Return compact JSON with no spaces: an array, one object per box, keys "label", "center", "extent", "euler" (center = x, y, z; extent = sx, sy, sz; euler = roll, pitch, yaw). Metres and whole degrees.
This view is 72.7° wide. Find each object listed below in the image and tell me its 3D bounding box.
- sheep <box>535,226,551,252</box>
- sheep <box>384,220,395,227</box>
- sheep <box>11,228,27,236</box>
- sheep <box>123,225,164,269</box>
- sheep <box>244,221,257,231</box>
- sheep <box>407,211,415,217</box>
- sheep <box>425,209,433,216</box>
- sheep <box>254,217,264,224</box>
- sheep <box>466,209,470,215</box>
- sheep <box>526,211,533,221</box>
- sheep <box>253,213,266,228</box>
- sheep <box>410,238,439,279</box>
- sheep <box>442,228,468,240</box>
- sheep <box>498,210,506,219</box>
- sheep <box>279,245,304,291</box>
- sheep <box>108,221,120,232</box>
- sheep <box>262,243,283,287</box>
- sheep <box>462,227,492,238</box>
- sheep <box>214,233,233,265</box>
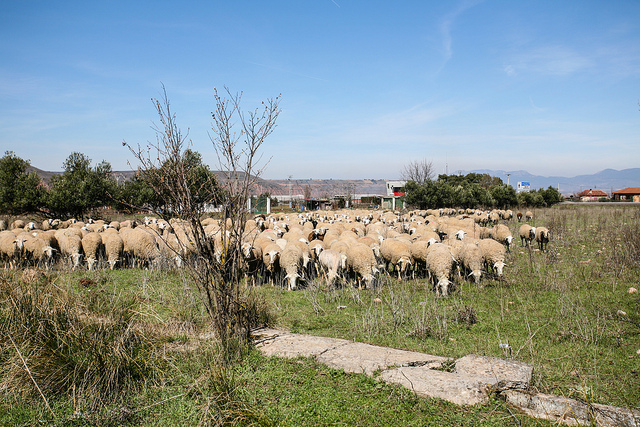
[{"label":"sheep","center":[11.922,1.362,23.406],"extent":[0.625,1.202,1.756],"euler":[4,11,22]},{"label":"sheep","center":[4.849,0.646,30.311],"extent":[0.640,0.359,1.180],"euler":[12,1,4]},{"label":"sheep","center":[-16.494,0.922,23.828],"extent":[0.727,0.398,0.728],"euler":[-2,-7,8]},{"label":"sheep","center":[-8.721,1.827,21.553],"extent":[3.598,2.017,1.128],"euler":[12,15,44]},{"label":"sheep","center":[-4.435,0.673,27.984],"extent":[0.817,0.584,1.046],"euler":[-3,-1,-5]},{"label":"sheep","center":[9.598,0.010,45.745],"extent":[0.584,0.634,1.185],"euler":[2,4,20]},{"label":"sheep","center":[11.306,-0.165,45.206],"extent":[0.736,0.359,0.729],"euler":[-8,7,-40]},{"label":"sheep","center":[-4.311,0.299,31.023],"extent":[0.494,0.654,0.577],"euler":[-9,15,-9]},{"label":"sheep","center":[15.643,-0.227,46.180],"extent":[0.266,0.646,0.472],"euler":[5,-2,10]},{"label":"sheep","center":[18.875,0.164,39.288],"extent":[0.511,0.769,1.506],"euler":[5,11,25]},{"label":"sheep","center":[-4.233,0.472,30.478],"extent":[0.706,1.376,2.617],"euler":[-1,-6,-5]},{"label":"sheep","center":[4.587,1.875,18.851],"extent":[0.855,1.573,1.931],"euler":[3,-6,-16]},{"label":"sheep","center":[7.282,1.065,23.654],"extent":[0.638,0.673,1.355],"euler":[-2,4,-31]},{"label":"sheep","center":[17.573,0.066,42.126],"extent":[0.390,0.875,3.373],"euler":[5,11,27]},{"label":"sheep","center":[-1.153,2.160,17.654],"extent":[1.018,1.582,1.381],"euler":[-1,10,-3]},{"label":"sheep","center":[-13.553,0.770,28.843],"extent":[0.533,0.784,1.171],"euler":[0,11,-16]},{"label":"sheep","center":[-2.120,2.173,19.229],"extent":[0.869,1.624,2.855],"euler":[9,9,-3]},{"label":"sheep","center":[9.207,1.030,25.582],"extent":[0.507,0.828,1.605],"euler":[0,-3,-14]},{"label":"sheep","center":[-3.070,1.115,13.783],"extent":[0.396,1.475,0.808],"euler":[2,16,-2]}]
